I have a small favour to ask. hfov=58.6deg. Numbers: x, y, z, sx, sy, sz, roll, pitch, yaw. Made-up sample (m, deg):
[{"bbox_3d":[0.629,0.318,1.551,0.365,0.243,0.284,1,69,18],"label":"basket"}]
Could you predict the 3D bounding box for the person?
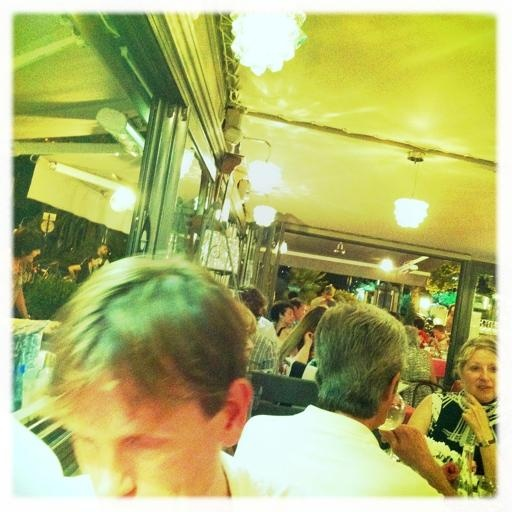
[{"bbox_3d":[0.021,0.210,1.085,0.609,0.394,0.911,-6,-32,43],"label":"person"}]
